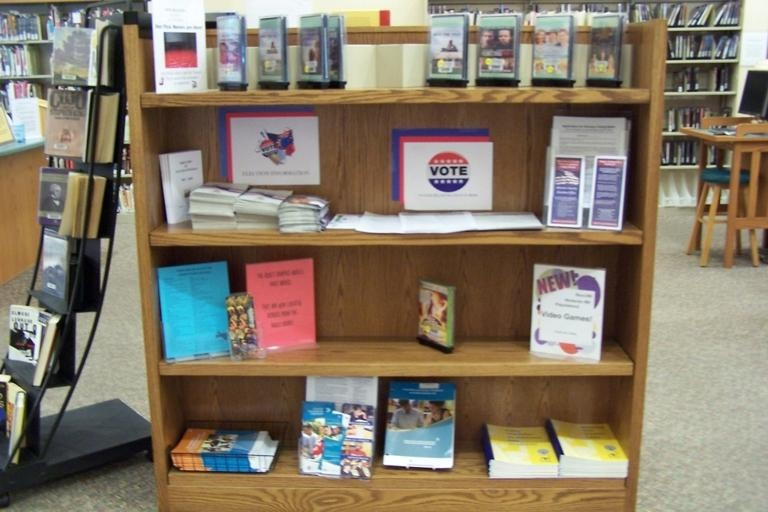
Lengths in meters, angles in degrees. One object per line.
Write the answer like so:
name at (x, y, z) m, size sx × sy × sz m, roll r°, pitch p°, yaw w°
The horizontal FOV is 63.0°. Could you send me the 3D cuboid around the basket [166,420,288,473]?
basket at (-0.758, 0.924, 3.005) m, size 0.355 × 0.072 × 0.209 m, roll 3°, pitch 12°, yaw -1°
